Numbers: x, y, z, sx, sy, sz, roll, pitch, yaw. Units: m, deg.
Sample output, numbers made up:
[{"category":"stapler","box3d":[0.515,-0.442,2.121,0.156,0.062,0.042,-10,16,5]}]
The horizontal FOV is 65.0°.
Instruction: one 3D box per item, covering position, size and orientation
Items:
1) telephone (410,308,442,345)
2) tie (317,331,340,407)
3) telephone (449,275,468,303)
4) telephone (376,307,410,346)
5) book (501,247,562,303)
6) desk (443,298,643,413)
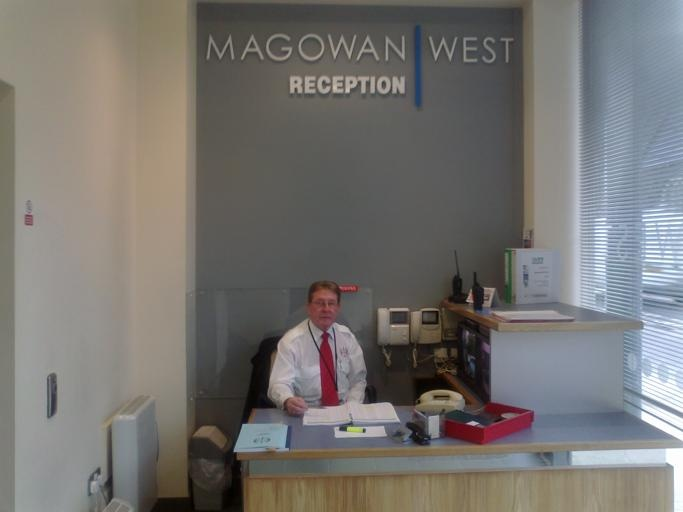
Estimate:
[{"category":"telephone","box3d":[0.691,0.571,4.396,0.258,0.321,0.167,-2,8,-9]},{"category":"tie","box3d":[-0.090,0.796,3.805,0.130,0.512,0.145,-2,0,-4]},{"category":"telephone","box3d":[0.919,0.267,4.262,0.188,0.239,0.161,-4,6,-36]},{"category":"telephone","box3d":[0.415,0.570,4.310,0.254,0.312,0.113,1,-4,-7]},{"category":"book","box3d":[1.454,0.152,4.073,0.378,0.411,0.130,0,1,-5]},{"category":"desk","box3d":[1.316,0.683,3.571,0.593,0.474,1.041,-1,1,-7]}]
